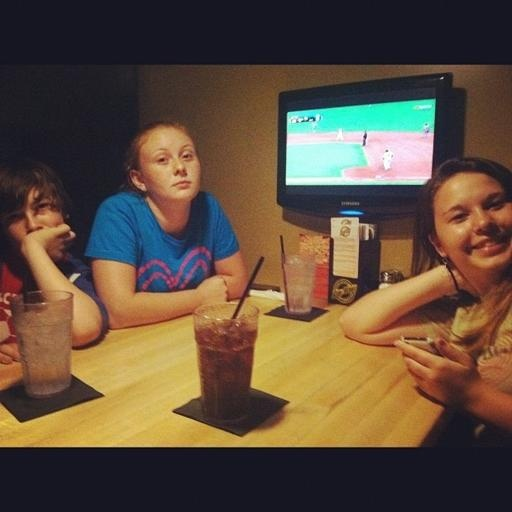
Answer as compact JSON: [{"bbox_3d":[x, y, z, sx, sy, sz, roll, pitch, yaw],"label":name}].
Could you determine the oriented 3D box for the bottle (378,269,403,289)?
[{"bbox_3d":[0.432,0.069,1.475,0.071,0.067,0.055,5,-7,-3],"label":"bottle"}]

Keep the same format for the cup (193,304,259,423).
[{"bbox_3d":[-0.057,0.207,0.934,0.124,0.207,0.124,-1,11,0],"label":"cup"}]

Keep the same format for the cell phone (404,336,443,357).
[{"bbox_3d":[0.398,0.216,1.096,0.111,0.011,0.060,30,-6,-35],"label":"cell phone"}]

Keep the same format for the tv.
[{"bbox_3d":[0.359,-0.357,1.442,0.542,0.356,0.060,2,5,19],"label":"tv"}]
